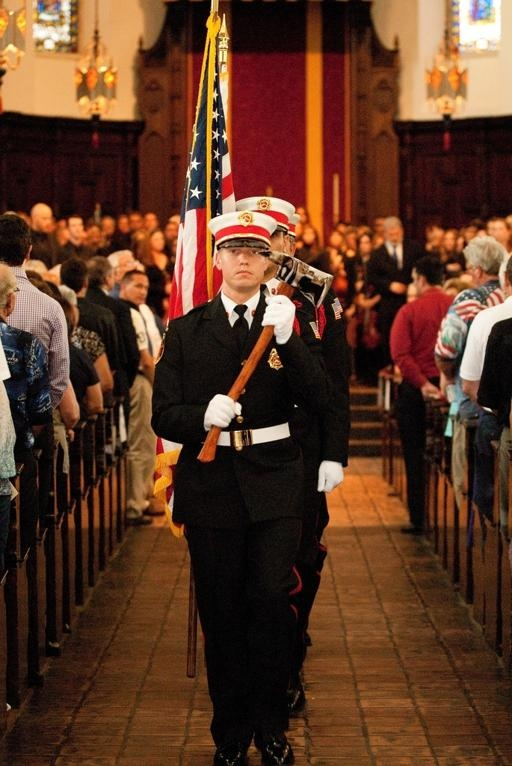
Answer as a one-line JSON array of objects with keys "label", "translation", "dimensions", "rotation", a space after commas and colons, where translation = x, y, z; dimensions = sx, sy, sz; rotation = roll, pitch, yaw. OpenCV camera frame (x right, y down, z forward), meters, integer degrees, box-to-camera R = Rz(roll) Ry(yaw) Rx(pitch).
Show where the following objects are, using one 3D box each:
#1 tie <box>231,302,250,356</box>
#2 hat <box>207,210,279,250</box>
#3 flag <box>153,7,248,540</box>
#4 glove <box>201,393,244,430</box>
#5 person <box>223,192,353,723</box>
[{"label": "tie", "translation": [-0.045, -0.149, 2.533], "dimensions": [0.047, 0.156, 0.018], "rotation": [-7, 4, -28]}, {"label": "hat", "translation": [-0.037, -0.428, 2.472], "dimensions": [0.188, 0.102, 0.163], "rotation": [-1, 2, -2]}, {"label": "flag", "translation": [-0.216, -0.362, 3.762], "dimensions": [0.411, 2.225, 0.342], "rotation": [-10, 19, -24]}, {"label": "glove", "translation": [-0.093, 0.081, 2.312], "dimensions": [0.097, 0.097, 0.085], "rotation": [-1, 2, 5]}, {"label": "person", "translation": [0.188, 0.258, 3.083], "dimensions": [0.603, 1.646, 0.552], "rotation": [0, 4, -1]}]
